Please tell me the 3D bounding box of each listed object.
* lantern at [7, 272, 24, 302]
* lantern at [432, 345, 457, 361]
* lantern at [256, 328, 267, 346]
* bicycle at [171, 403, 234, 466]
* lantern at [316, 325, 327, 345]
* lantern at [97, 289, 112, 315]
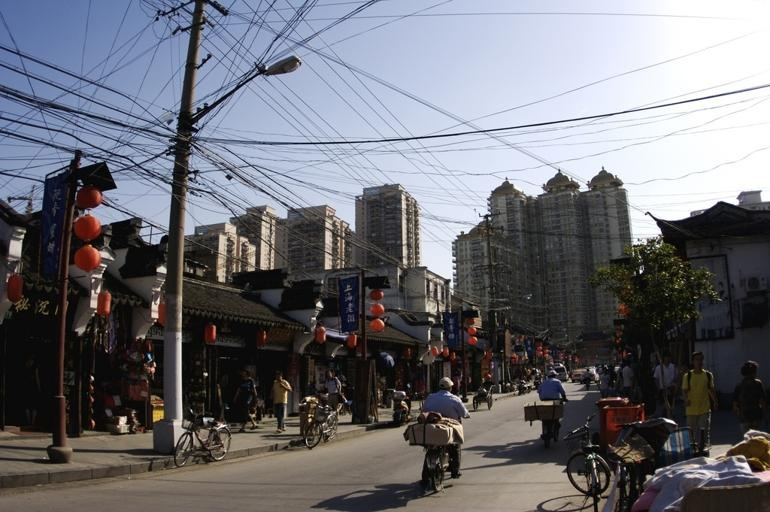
[{"bbox_3d":[-11.383,1.008,25.369,0.426,0.824,0.320,0,2,-30],"label":"lantern"},{"bbox_3d":[4.121,6.606,55.682,1.370,0.892,1.940,-2,-7,32],"label":"lantern"},{"bbox_3d":[-5.244,3.490,35.516,0.490,0.760,1.140,1,1,-9],"label":"lantern"},{"bbox_3d":[-5.758,5.862,26.286,0.557,1.557,1.995,2,2,40],"label":"bicycle"},{"bbox_3d":[-2.939,3.594,37.936,0.438,0.782,0.724,1,1,-9],"label":"lantern"},{"bbox_3d":[-9.433,1.584,27.730,0.449,0.847,1.004,0,2,-20],"label":"lantern"}]
